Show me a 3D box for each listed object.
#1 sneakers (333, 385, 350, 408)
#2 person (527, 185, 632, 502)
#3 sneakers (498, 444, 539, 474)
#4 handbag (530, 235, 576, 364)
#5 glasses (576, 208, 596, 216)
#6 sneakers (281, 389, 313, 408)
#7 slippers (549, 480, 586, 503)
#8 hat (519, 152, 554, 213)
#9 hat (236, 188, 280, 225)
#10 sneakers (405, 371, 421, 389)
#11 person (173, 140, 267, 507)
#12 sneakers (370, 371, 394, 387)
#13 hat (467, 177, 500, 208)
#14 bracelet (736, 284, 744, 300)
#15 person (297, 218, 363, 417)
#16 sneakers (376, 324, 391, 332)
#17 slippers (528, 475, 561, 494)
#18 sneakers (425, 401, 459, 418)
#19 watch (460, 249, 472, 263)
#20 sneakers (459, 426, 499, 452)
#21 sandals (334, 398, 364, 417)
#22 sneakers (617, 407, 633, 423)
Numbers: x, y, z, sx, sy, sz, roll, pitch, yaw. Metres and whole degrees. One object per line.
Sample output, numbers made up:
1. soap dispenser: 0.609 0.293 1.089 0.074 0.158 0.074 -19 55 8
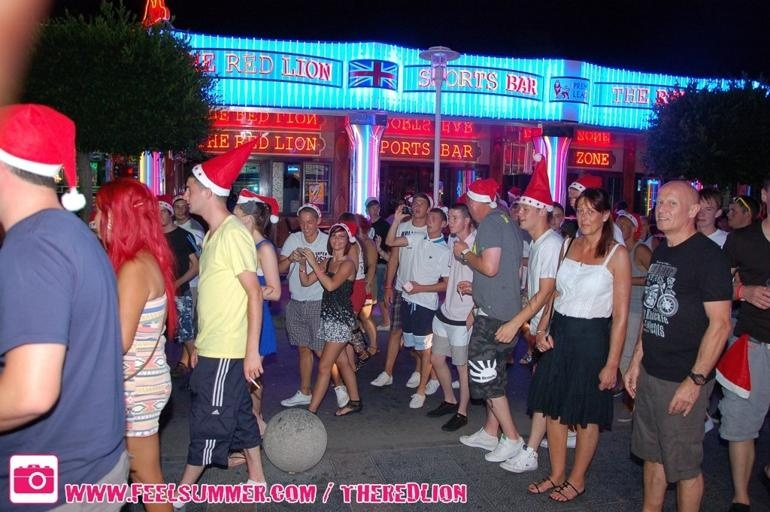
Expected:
1. sneakers: -0.575 1.856 7.804 0.131 0.159 0.365 -31 2 2
2. person: 1.951 0.879 5.895 0.854 3.051 0.742 4 10 19
3. sneakers: 1.492 2.211 6.426 0.451 0.237 0.185 0 1 -15
4. handbag: 1.832 0.509 6.478 0.334 1.395 0.766 8 8 11
5. glasses: 2.012 -0.429 5.878 0.085 0.045 0.110 14 -7 -37
6. sneakers: -1.182 1.920 7.921 0.427 0.198 0.178 0 0 -7
7. slippers: 1.829 2.358 5.891 0.322 0.126 0.164 0 17 -12
8. hat: 1.769 -0.828 6.712 0.386 0.671 0.390 11 -7 38
9. hat: -1.610 -0.637 7.441 0.592 0.327 0.403 22 -12 3
10. sneakers: 0.420 1.850 8.768 0.119 0.128 0.290 1 2 30
11. person: -1.576 0.688 5.641 0.768 3.406 0.798 -2 10 -16
12. sneakers: -0.045 1.871 8.873 0.295 0.173 0.160 2 -1 -25
13. hat: 1.156 -0.818 7.266 0.399 0.346 0.287 29 27 35
14. bracelet: 3.556 0.366 5.902 0.043 0.120 0.104 -1 38 12
15. person: -0.664 0.849 7.562 0.697 2.454 1.153 4 10 15
16. sneakers: -0.027 1.431 11.753 0.335 0.146 0.130 0 0 26
17. slippers: 1.618 2.342 6.038 0.339 0.132 0.141 -4 17 -3
18. sneakers: 0.759 1.999 7.750 0.437 0.200 0.167 -2 1 -13
19. watch: 0.926 -0.009 6.730 0.111 0.118 0.075 -14 43 -17
20. sneakers: 1.121 2.163 6.986 0.434 0.235 0.194 7 -6 11
21. sandals: -0.469 2.001 7.694 0.370 0.170 0.140 1 5 -11
22. sneakers: 3.164 2.102 7.778 0.170 0.140 0.182 1 -3 2
